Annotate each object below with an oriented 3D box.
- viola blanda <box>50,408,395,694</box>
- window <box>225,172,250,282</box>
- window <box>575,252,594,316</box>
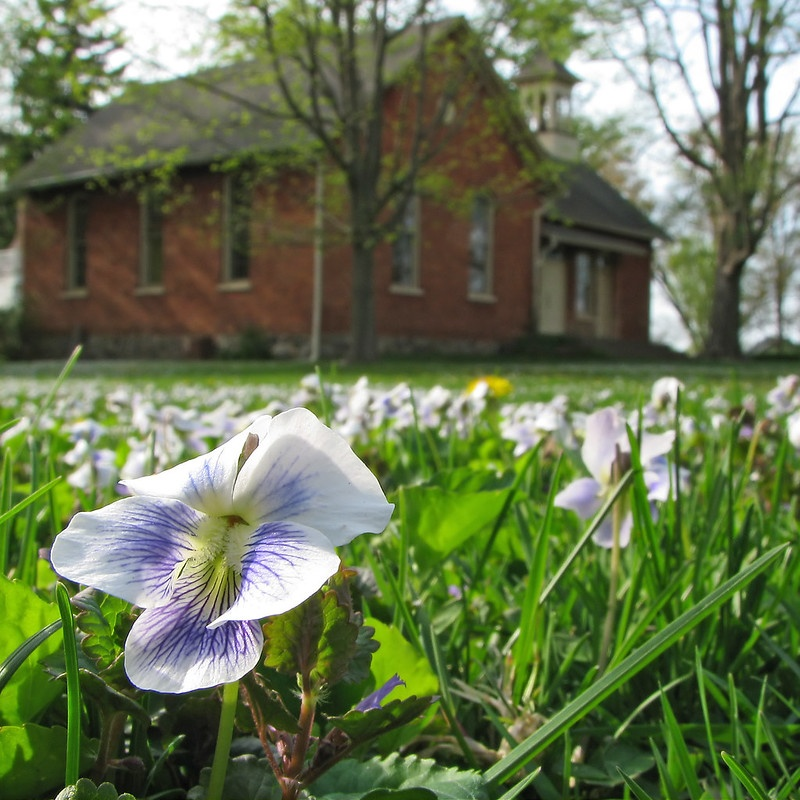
[{"bbox_3d":[-0.153,0.144,0.826,0.232,0.137,0.307,-2,42,8],"label":"viola blanda"},{"bbox_3d":[-0.291,-0.301,1.645,0.045,0.197,0.220,-1,13,-11],"label":"window"},{"bbox_3d":[0.324,-0.196,1.632,0.036,0.119,0.113,3,12,11],"label":"window"}]
